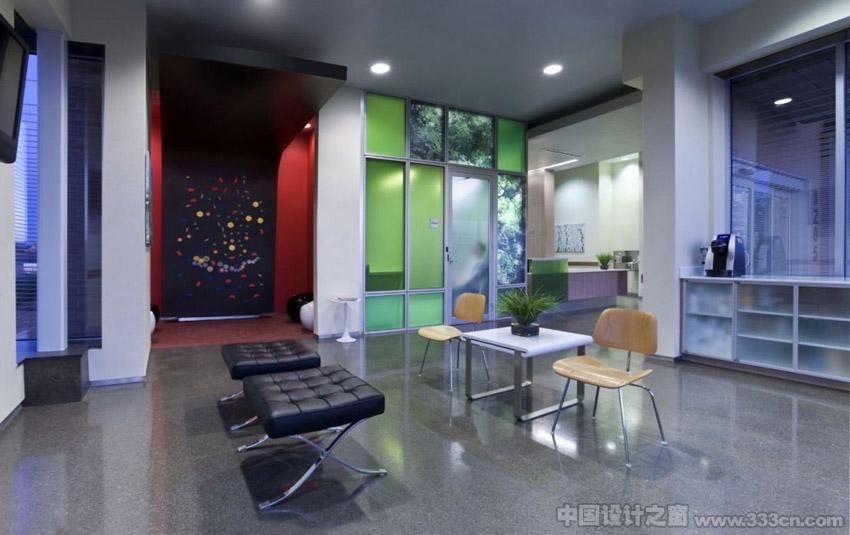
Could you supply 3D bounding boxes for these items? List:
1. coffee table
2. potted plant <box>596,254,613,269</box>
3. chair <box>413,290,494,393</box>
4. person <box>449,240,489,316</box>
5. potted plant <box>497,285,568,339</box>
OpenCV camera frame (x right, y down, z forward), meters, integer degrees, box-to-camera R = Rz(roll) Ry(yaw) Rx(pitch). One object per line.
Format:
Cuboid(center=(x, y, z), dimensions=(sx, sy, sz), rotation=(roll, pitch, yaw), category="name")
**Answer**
Cuboid(center=(1.102, 1.041, 6.243), dimensions=(1.135, 0.806, 1.127), rotation=(-2, 3, -37), category="coffee table")
Cuboid(center=(4.583, -0.164, 13.538), dimensions=(0.385, 0.381, 0.390), rotation=(0, -2, -5), category="potted plant")
Cuboid(center=(0.363, 0.876, 6.913), dimensions=(0.798, 0.997, 0.810), rotation=(-2, 2, -17), category="chair")
Cuboid(center=(0.854, 0.275, 10.477), dimensions=(0.885, 1.566, 0.576), rotation=(3, 19, 24), category="person")
Cuboid(center=(1.204, 0.485, 6.302), dimensions=(0.591, 0.412, 0.648), rotation=(-1, -1, 25), category="potted plant")
